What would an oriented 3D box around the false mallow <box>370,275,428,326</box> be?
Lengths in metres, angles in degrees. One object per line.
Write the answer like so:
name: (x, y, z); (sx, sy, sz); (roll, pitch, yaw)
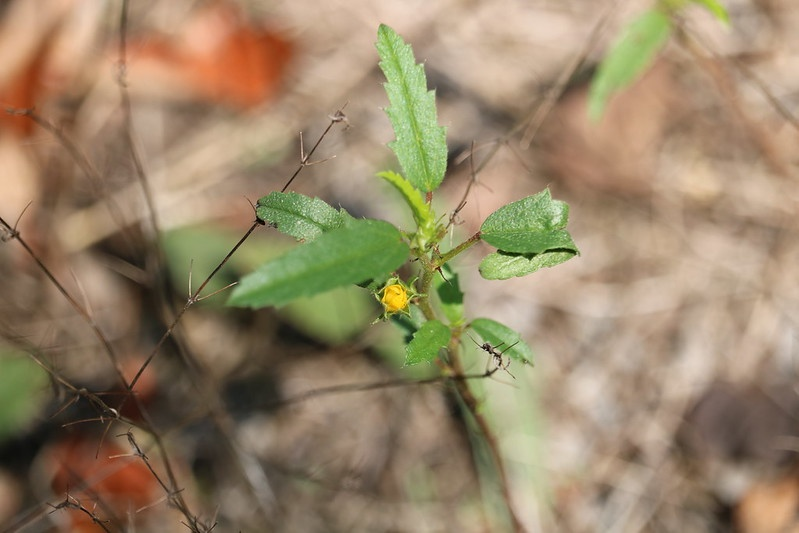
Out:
false mallow: (0.005, 0.151, 4.283); (0.231, 0.221, 0.113); (22, 13, -19)
